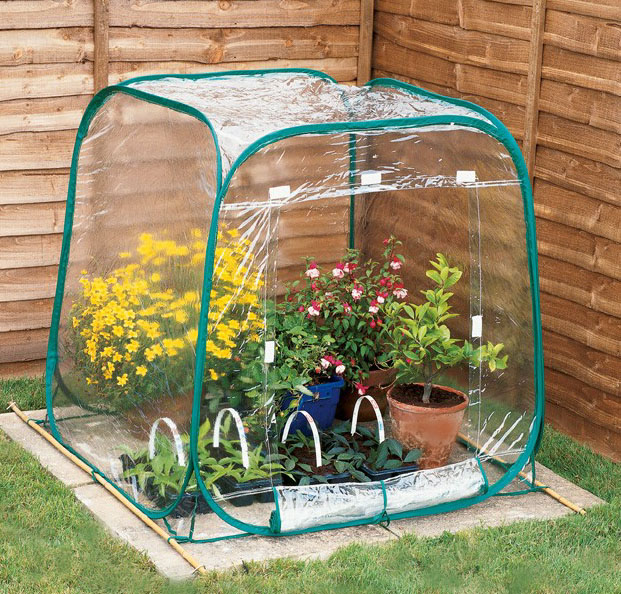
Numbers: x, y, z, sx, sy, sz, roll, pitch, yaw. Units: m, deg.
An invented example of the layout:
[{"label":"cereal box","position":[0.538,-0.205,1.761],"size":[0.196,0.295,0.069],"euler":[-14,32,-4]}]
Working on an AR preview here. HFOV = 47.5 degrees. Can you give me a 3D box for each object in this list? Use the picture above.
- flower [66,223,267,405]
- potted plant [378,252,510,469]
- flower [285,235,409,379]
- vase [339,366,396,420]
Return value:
[{"label":"flower","position":[-0.578,0.076,2.620],"size":[0.865,0.642,0.421],"euler":[-2,-13,3]},{"label":"potted plant","position":[0.546,0.234,2.999],"size":[0.461,0.857,0.602],"euler":[3,11,-3]},{"label":"flower","position":[0.177,0.062,3.220],"size":[0.528,0.588,0.559],"euler":[12,29,29]},{"label":"vase","position":[0.273,0.451,3.319],"size":[0.293,0.179,0.276],"euler":[-1,2,-8]}]
